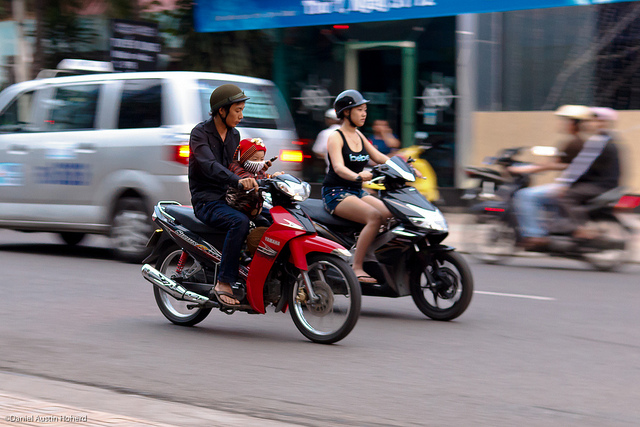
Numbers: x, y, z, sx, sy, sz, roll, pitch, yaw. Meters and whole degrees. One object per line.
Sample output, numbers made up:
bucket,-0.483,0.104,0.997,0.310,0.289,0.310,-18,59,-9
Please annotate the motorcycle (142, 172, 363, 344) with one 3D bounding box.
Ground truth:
motorcycle,-0.841,0.429,6.038,3.038,1.369,0.869,0,-7,41

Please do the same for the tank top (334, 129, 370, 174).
tank top,0.375,-0.702,6.667,0.238,0.486,0.413,13,18,35

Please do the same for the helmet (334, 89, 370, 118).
helmet,0.291,-1.236,6.647,0.442,0.186,0.278,-7,1,12

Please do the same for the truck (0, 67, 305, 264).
truck,-3.421,-1.093,10.461,5.818,1.816,2.907,4,6,26
